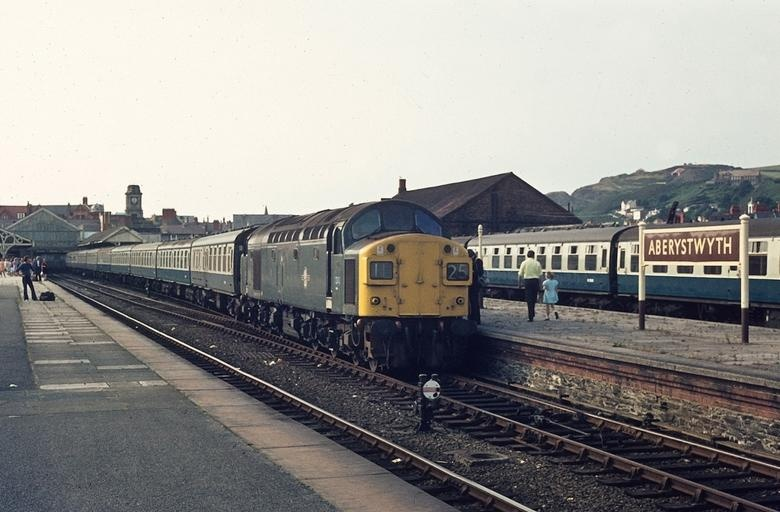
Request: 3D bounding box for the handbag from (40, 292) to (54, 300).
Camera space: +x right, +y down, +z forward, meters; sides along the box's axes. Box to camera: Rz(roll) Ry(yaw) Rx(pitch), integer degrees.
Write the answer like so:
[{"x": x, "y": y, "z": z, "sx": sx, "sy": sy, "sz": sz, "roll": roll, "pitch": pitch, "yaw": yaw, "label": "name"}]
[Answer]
[{"x": -20.092, "y": 2.365, "z": 41.810, "sx": 0.518, "sy": 0.330, "sz": 0.872, "roll": 1, "pitch": -2, "yaw": -27, "label": "handbag"}]
